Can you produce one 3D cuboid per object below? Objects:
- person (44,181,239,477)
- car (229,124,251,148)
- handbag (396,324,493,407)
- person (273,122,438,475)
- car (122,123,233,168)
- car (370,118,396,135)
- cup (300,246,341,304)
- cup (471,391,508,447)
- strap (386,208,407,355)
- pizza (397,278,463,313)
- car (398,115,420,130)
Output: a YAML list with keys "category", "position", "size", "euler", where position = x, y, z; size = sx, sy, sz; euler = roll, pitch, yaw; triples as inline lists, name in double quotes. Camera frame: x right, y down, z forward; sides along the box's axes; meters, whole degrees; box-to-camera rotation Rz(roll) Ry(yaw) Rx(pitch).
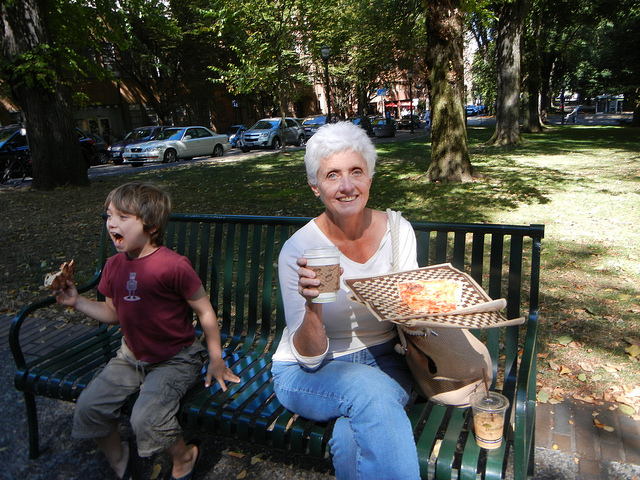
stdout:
- category: "person"
  position: [-1.114, 0.565, 2.741]
  size: [0.948, 1.766, 0.878]
  euler: [-14, 18, -33]
- category: "car"
  position: [-5.904, -7.213, 29.976]
  size: [1.510, 1.305, 2.565]
  euler: [0, 6, 14]
- category: "handbag"
  position: [0.673, 0.660, 2.381]
  size: [0.477, 0.508, 0.341]
  euler: [3, 17, 26]
- category: "person"
  position: [0.172, 0.488, 2.448]
  size: [0.946, 2.214, 1.025]
  euler: [0, 16, 14]
- category: "car"
  position: [-7.088, -4.910, 22.290]
  size: [1.499, 1.640, 5.165]
  euler: [10, 21, 43]
- category: "car"
  position: [5.010, -8.952, 33.783]
  size: [1.485, 1.111, 2.419]
  euler: [1, 7, 15]
- category: "cup"
  position: [0.012, 0.173, 2.177]
  size: [0.241, 0.307, 0.240]
  euler: [-1, 5, 0]
- category: "cup"
  position: [0.818, 0.875, 2.164]
  size: [0.209, 0.241, 0.197]
  euler: [-1, -1, 0]
- category: "strap"
  position: [0.429, 0.282, 2.533]
  size: [0.096, 0.926, 0.215]
  euler: [1, 18, 24]
- category: "pizza"
  position: [0.578, 0.285, 2.265]
  size: [0.196, 0.035, 0.198]
  euler: [-3, 25, -3]
- category: "car"
  position: [8.927, -11.756, 43.281]
  size: [1.151, 1.072, 2.498]
  euler: [5, 17, 27]
